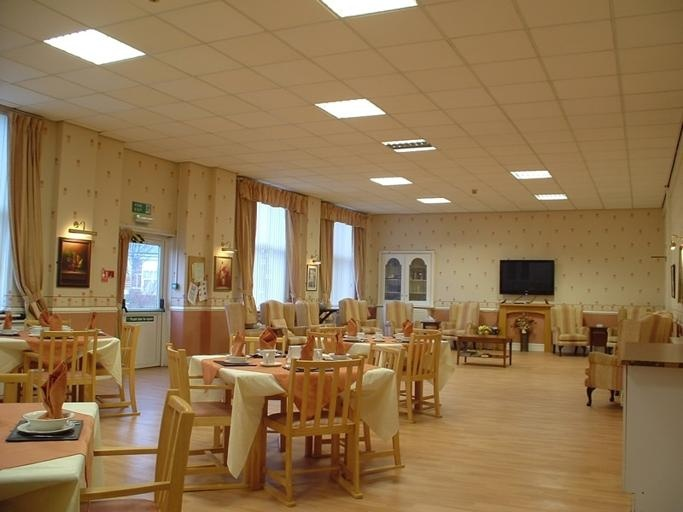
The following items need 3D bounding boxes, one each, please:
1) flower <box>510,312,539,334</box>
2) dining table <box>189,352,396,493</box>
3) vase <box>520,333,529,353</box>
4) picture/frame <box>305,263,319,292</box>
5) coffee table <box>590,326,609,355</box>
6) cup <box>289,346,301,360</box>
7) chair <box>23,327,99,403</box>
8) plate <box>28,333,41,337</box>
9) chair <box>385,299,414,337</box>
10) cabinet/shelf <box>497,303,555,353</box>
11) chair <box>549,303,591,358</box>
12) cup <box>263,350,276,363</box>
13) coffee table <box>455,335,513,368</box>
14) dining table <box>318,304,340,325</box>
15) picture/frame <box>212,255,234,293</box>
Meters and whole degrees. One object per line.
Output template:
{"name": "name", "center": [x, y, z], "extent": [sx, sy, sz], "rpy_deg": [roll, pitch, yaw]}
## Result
{"name": "flower", "center": [5.148, 1.885, 13.737], "extent": [0.594, 0.587, 0.610], "rpy_deg": [0, -8, 20]}
{"name": "dining table", "center": [-0.593, 1.155, 4.123], "extent": [1.234, 0.604, 1.142], "rpy_deg": [3, 4, -39]}
{"name": "vase", "center": [5.105, 2.388, 13.545], "extent": [0.266, 0.516, 0.182], "rpy_deg": [1, -4, 5]}
{"name": "picture/frame", "center": [-0.805, 0.567, 12.790], "extent": [0.053, 0.798, 0.703], "rpy_deg": [-2, -6, 21]}
{"name": "coffee table", "center": [6.626, 2.196, 12.579], "extent": [0.633, 0.773, 0.671], "rpy_deg": [-4, -10, 40]}
{"name": "cup", "center": [-0.435, 0.876, 4.411], "extent": [0.125, 0.129, 0.129], "rpy_deg": [1, -4, 0]}
{"name": "chair", "center": [-3.074, 1.255, 5.368], "extent": [0.713, 0.867, 1.146], "rpy_deg": [4, -6, -32]}
{"name": "plate", "center": [-3.551, 0.917, 5.615], "extent": [0.097, 0.026, 0.100], "rpy_deg": [-3, -7, 31]}
{"name": "chair", "center": [1.639, 1.663, 13.348], "extent": [0.879, 1.126, 1.004], "rpy_deg": [1, -13, 1]}
{"name": "cabinet/shelf", "center": [5.114, 1.982, 13.359], "extent": [1.230, 1.182, 0.525], "rpy_deg": [-2, -6, 24]}
{"name": "chair", "center": [6.145, 1.989, 13.133], "extent": [1.205, 1.761, 1.222], "rpy_deg": [-1, -10, 14]}
{"name": "cup", "center": [-0.664, 0.917, 4.407], "extent": [0.128, 0.091, 0.080], "rpy_deg": [-1, 3, -44]}
{"name": "coffee table", "center": [3.531, 2.246, 12.043], "extent": [1.213, 0.668, 3.113], "rpy_deg": [0, -5, 16]}
{"name": "dining table", "center": [-0.344, 1.553, 13.022], "extent": [0.417, 0.477, 1.588], "rpy_deg": [1, -5, 4]}
{"name": "picture/frame", "center": [-2.499, 0.370, 10.105], "extent": [0.128, 0.979, 0.734], "rpy_deg": [-2, -6, 32]}
